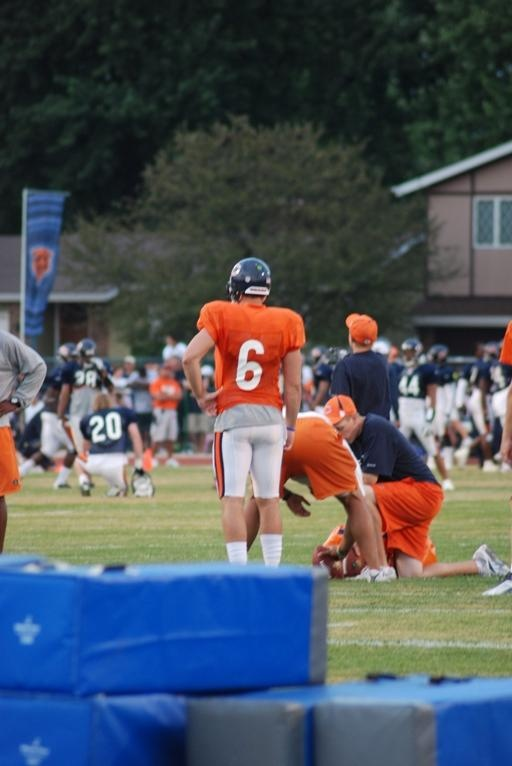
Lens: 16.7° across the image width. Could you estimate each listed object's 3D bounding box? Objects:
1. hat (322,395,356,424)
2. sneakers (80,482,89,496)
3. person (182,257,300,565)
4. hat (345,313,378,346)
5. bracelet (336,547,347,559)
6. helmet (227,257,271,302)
[{"bbox_3d":[0.401,0.126,8.195,0.099,0.094,0.158,-16,3,30],"label":"hat"},{"bbox_3d":[-1.361,0.834,13.798,0.040,0.053,0.137,-4,23,-7],"label":"sneakers"},{"bbox_3d":[-0.036,0.122,7.491,0.578,1.335,0.348,0,0,-21],"label":"person"},{"bbox_3d":[0.561,-0.298,8.999,0.121,0.187,0.115,1,-43,-8],"label":"hat"},{"bbox_3d":[0.420,0.836,8.530,0.038,0.058,0.024,7,8,33],"label":"bracelet"},{"bbox_3d":[-0.042,-0.450,7.605,0.147,0.203,0.198,2,10,-13],"label":"helmet"}]
